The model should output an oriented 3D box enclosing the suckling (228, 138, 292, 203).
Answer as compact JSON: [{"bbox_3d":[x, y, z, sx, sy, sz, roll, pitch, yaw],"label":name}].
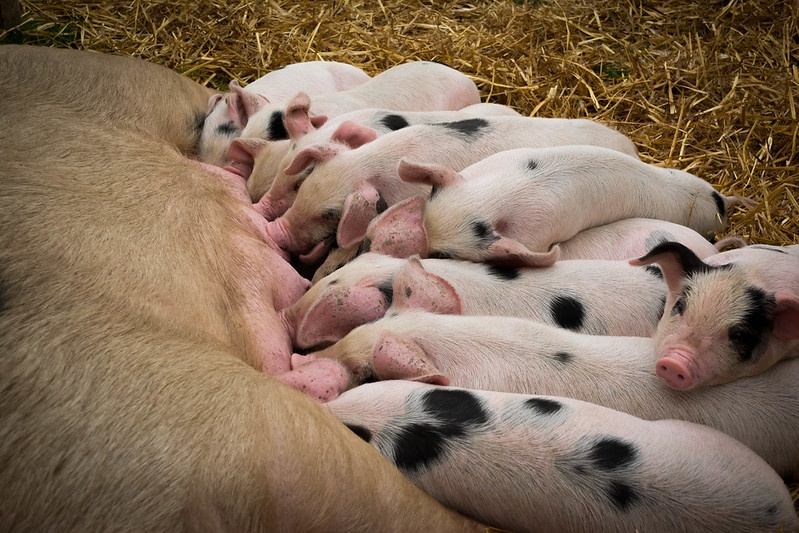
[{"bbox_3d":[-0.714,-0.491,3.984,0.305,0.372,0.208,24,12,29],"label":"suckling"}]

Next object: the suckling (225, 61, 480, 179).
[{"bbox_3d":[-0.244,-0.754,3.947,1.139,0.539,0.305,-15,61,-6],"label":"suckling"}]
